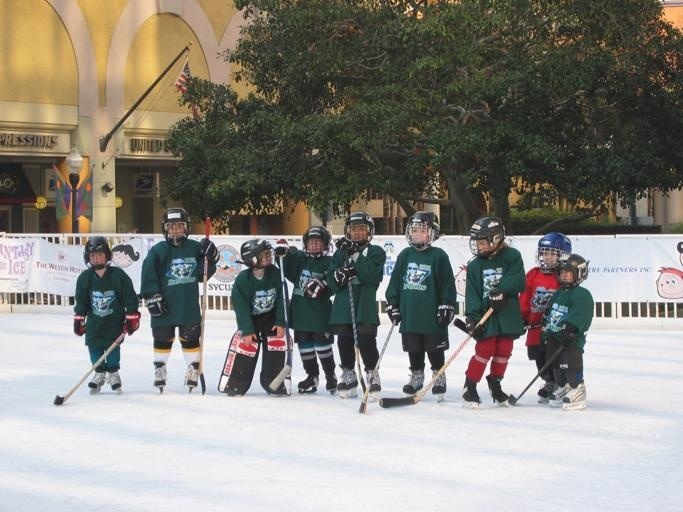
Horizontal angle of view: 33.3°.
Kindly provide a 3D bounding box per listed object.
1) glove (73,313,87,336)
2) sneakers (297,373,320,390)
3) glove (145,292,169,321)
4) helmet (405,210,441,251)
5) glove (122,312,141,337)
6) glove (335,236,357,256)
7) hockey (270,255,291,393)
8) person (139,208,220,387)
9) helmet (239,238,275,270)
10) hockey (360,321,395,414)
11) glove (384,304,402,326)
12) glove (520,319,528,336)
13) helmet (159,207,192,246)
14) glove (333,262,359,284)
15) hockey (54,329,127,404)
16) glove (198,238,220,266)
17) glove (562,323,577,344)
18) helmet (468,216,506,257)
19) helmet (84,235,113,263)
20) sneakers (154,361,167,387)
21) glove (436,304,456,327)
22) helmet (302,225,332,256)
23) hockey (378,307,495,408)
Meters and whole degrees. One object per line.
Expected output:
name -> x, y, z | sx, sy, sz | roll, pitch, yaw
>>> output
glove -> -4.049, 1.068, 17.516 | 0.195, 0.315, 0.111 | 6, 0, -8
sneakers -> -0.549, 1.985, 17.567 | 0.287, 0.295, 0.169 | 5, -3, -4
glove -> -2.852, 0.785, 17.318 | 0.341, 0.365, 0.274 | -21, -2, 21
helmet -> 1.239, -0.390, 17.156 | 0.418, 0.543, 0.553 | 0, -4, 19
glove -> -3.251, 1.054, 17.483 | 0.237, 0.298, 0.311 | 8, -11, -15
glove -> 0.058, -0.117, 16.959 | 0.307, 0.278, 0.392 | 0, 10, 6
hockey -> -0.929, 1.037, 17.208 | 0.321, 1.984, 0.591 | 1, 10, 8
person -> -2.530, 0.712, 17.423 | 1.121, 2.757, 0.827 | -3, 10, -12
helmet -> -1.308, -0.003, 17.284 | 0.428, 0.391, 0.353 | -13, 12, 8
hockey -> 0.518, 1.762, 17.400 | 0.176, 1.357, 0.126 | 28, -26, -22
glove -> 0.778, 0.895, 16.986 | 0.189, 0.300, 0.097 | -3, 8, 37
glove -> 2.721, 1.078, 17.050 | 0.081, 0.235, 0.160 | 4, 4, 9
helmet -> -2.566, -0.448, 17.648 | 0.369, 0.556, 0.516 | -2, 7, -2
glove -> 0.040, 0.286, 16.870 | 0.347, 0.261, 0.119 | -38, 29, -5
hockey -> -3.959, 1.793, 17.964 | 0.235, 1.197, 0.131 | 43, -18, -28
glove -> -2.044, -0.051, 17.505 | 0.276, 0.379, 0.152 | -43, 21, -26
glove -> 3.286, 1.140, 16.399 | 0.190, 0.277, 0.261 | 1, -14, 13
helmet -> 2.140, -0.283, 16.846 | 0.527, 0.577, 0.464 | -5, 1, -24
helmet -> -3.791, -0.069, 17.568 | 0.412, 0.430, 0.455 | -3, 10, -13
sneakers -> -2.782, 1.823, 17.286 | 0.181, 0.408, 0.169 | -3, 10, -14
glove -> 1.511, 0.877, 16.635 | 0.213, 0.271, 0.294 | 2, 8, -5
helmet -> -0.403, -0.218, 17.398 | 0.329, 0.428, 0.465 | -1, -7, 4
hockey -> 1.438, 1.589, 17.254 | 0.292, 1.702, 0.205 | 40, -22, 0
